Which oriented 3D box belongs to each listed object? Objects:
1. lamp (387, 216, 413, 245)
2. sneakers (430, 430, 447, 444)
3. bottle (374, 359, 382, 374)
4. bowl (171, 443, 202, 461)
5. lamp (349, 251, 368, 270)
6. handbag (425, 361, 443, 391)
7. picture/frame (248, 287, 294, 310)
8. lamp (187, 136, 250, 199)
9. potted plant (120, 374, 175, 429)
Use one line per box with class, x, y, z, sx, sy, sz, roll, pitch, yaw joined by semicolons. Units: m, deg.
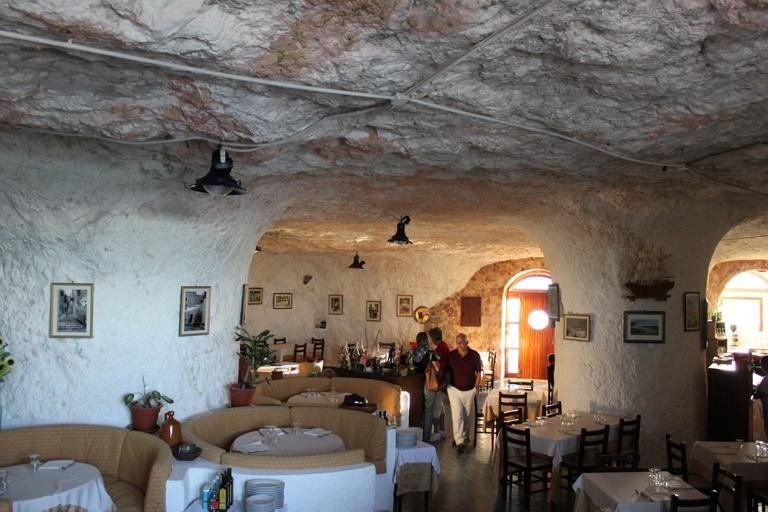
lamp;0.165;-0.336;8.450;0.388;0.388;0.582;7;11;14
sneakers;0.917;3.047;9.403;0.107;0.105;0.311;-3;-9;30
bottle;-0.121;2.023;10.256;0.151;0.256;0.375;1;-9;-1
bowl;-2.056;2.052;5.838;0.296;0.148;0.142;3;-9;-15
lamp;-0.596;0.141;13.684;0.502;0.415;0.460;-1;2;-26
handbag;0.803;1.995;9.245;0.244;0.517;0.312;1;-9;3
picture/frame;-3.285;1.231;16.168;1.432;0.599;0.209;7;-11;-37
lamp;-1.561;-0.865;5.276;0.594;0.490;0.623;3;10;-28
potted plant;-2.660;1.698;6.477;0.532;0.602;0.618;-1;-2;39
